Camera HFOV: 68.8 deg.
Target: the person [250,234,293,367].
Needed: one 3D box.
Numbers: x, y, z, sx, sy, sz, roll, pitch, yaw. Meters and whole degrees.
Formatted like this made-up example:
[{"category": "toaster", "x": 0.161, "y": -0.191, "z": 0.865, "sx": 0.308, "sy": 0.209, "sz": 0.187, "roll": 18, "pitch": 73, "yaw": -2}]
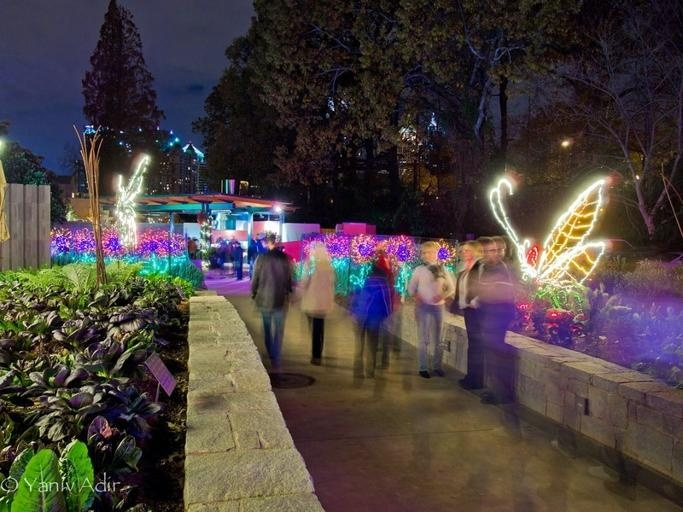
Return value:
[{"category": "person", "x": -1.170, "y": 0.715, "z": 8.288, "sx": 0.695, "sy": 2.177, "sz": 0.451, "roll": 1, "pitch": 3, "yaw": -10}]
